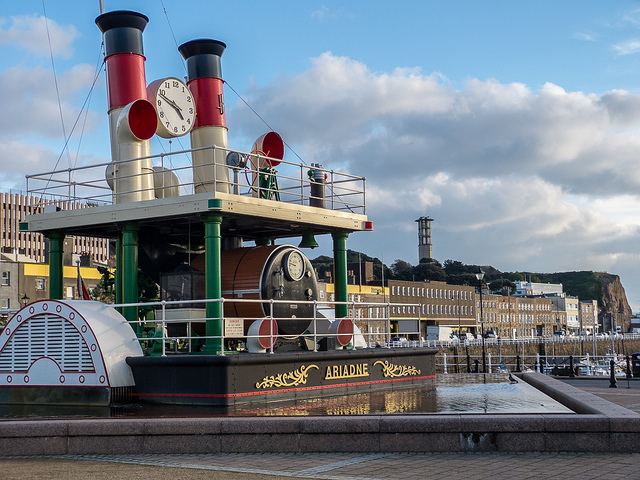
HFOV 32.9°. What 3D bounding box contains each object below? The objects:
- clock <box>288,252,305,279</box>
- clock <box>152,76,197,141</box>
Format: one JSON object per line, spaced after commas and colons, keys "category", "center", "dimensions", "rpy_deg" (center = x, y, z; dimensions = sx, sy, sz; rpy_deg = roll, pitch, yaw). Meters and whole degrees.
{"category": "clock", "center": [-0.703, 0.814, 34.394], "dimensions": [0.145, 0.820, 0.788], "rpy_deg": [-7, -8, 33]}
{"category": "clock", "center": [-4.652, -4.249, 34.908], "dimensions": [0.551, 1.803, 1.443], "rpy_deg": [-7, -8, 37]}
